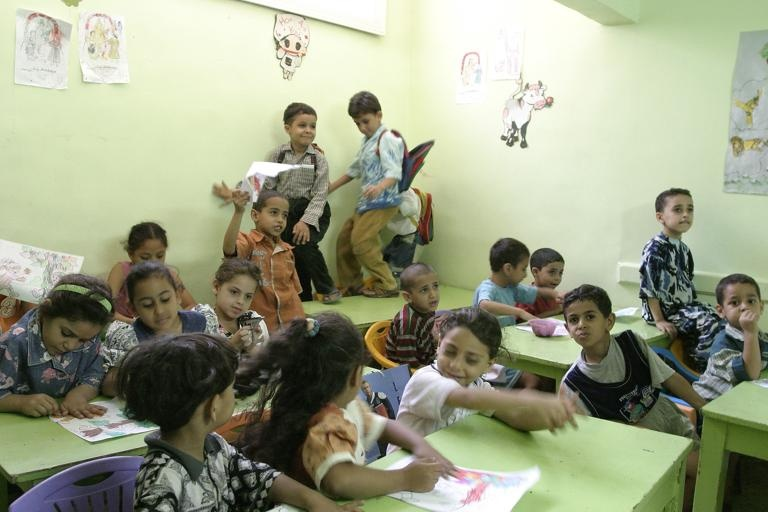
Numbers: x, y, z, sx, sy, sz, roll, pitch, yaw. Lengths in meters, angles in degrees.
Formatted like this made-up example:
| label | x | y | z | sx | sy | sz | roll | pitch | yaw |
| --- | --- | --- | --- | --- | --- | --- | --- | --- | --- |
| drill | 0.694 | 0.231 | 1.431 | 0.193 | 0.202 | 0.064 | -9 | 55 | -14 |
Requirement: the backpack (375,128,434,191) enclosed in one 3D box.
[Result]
| label | x | y | z | sx | sy | sz | roll | pitch | yaw |
| --- | --- | --- | --- | --- | --- | --- | --- | --- | --- |
| backpack | 0.120 | -0.798 | 4.803 | 0.504 | 0.442 | 0.311 | -8 | 3 | -27 |

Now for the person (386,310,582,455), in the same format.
| label | x | y | z | sx | sy | sz | roll | pitch | yaw |
| --- | --- | --- | --- | --- | --- | --- | --- | --- | --- |
| person | 0.487 | 0.438 | 2.279 | 0.729 | 0.695 | 0.415 | 7 | -1 | -24 |

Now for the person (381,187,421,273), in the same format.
| label | x | y | z | sx | sy | sz | roll | pitch | yaw |
| --- | --- | --- | --- | --- | --- | --- | --- | --- | --- |
| person | 0.136 | -0.231 | 4.794 | 0.251 | 0.753 | 0.343 | -5 | 39 | -10 |

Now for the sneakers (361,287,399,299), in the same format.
| label | x | y | z | sx | sy | sz | roll | pitch | yaw |
| --- | --- | --- | --- | --- | --- | --- | --- | --- | --- |
| sneakers | -0.040 | 0.295 | 4.698 | 0.272 | 0.111 | 0.103 | 4 | 4 | 7 |

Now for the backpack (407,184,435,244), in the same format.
| label | x | y | z | sx | sy | sz | roll | pitch | yaw |
| --- | --- | --- | --- | --- | --- | --- | --- | --- | --- |
| backpack | 0.305 | -0.347 | 5.001 | 0.297 | 0.516 | 0.388 | -4 | 20 | -9 |

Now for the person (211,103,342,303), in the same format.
| label | x | y | z | sx | sy | sz | roll | pitch | yaw |
| --- | --- | --- | --- | --- | --- | --- | --- | --- | --- |
| person | -0.733 | -0.375 | 4.467 | 0.936 | 1.522 | 0.728 | -12 | 19 | -39 |
